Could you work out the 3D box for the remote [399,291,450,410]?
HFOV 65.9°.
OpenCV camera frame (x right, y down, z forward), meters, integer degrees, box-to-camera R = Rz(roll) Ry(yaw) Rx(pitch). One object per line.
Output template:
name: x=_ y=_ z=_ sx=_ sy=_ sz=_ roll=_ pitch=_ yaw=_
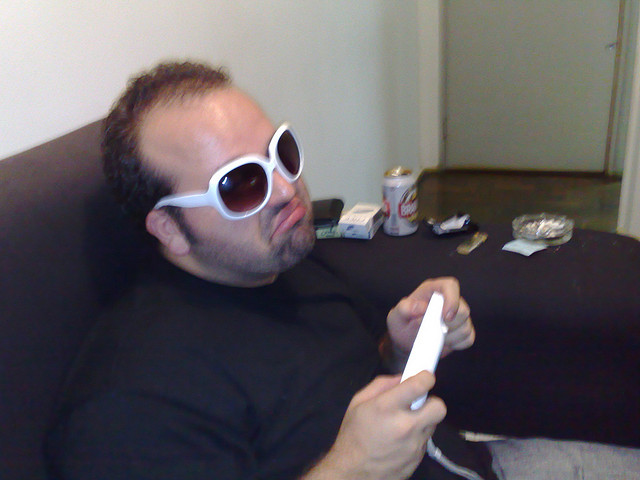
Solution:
remote: x=0.199 y=0.184 z=0.906 sx=0.138 sy=0.153 sz=0.155 roll=8 pitch=27 yaw=6
